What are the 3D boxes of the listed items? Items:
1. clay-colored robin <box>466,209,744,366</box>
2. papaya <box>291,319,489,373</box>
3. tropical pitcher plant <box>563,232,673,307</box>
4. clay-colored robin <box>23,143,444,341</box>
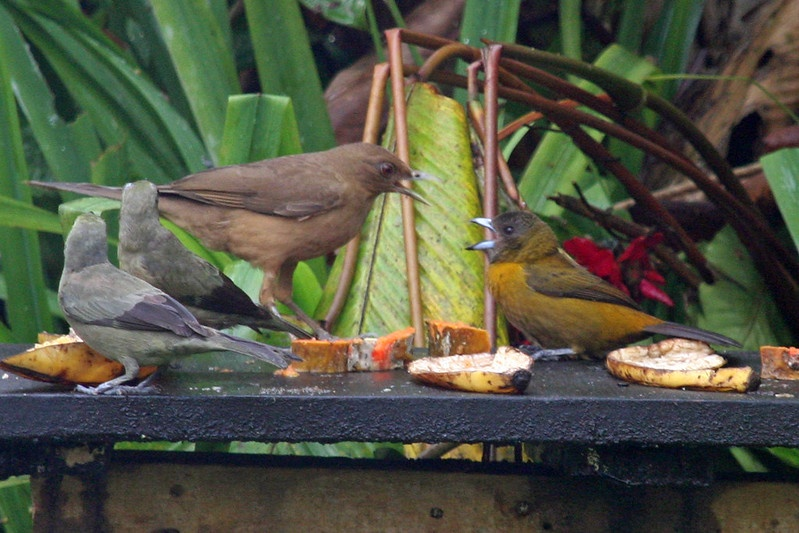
[{"bbox_3d":[0.597,0.067,3.444,0.788,0.255,0.433,3,83,-4],"label":"clay-colored robin"},{"bbox_3d":[-0.004,0.186,3.286,0.446,0.417,0.160,1,102,32],"label":"papaya"},{"bbox_3d":[0.676,0.006,3.516,0.408,0.177,0.348,2,81,6],"label":"tropical pitcher plant"},{"bbox_3d":[-0.526,-0.137,3.556,1.218,0.380,0.551,8,88,6],"label":"clay-colored robin"}]
